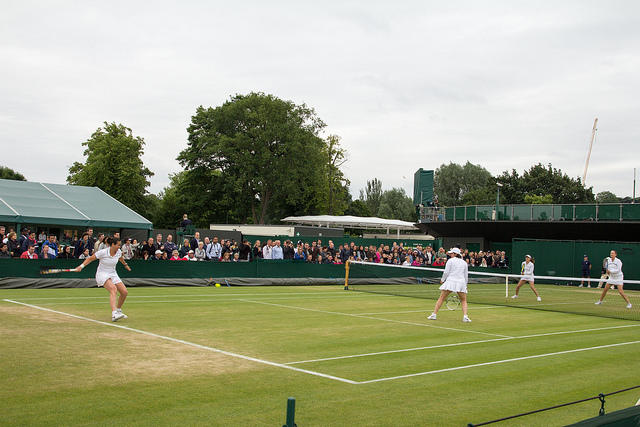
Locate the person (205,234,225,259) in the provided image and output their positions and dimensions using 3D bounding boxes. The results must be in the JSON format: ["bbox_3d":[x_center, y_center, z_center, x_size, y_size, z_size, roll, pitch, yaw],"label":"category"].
[{"bbox_3d":[-5.976,1.876,30.241,0.814,1.825,0.604,15,-13,-43],"label":"person"}]

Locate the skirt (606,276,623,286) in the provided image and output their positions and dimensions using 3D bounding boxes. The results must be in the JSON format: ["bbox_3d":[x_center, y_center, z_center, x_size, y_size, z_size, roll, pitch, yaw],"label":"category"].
[{"bbox_3d":[12.888,3.007,23.177,0.708,0.168,0.671,-3,-3,35],"label":"skirt"}]

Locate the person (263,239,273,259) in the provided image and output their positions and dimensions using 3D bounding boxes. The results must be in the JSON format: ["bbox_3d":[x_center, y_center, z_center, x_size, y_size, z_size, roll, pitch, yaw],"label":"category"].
[{"bbox_3d":[-2.794,1.936,28.583,0.522,0.792,0.993,3,-1,-7],"label":"person"}]

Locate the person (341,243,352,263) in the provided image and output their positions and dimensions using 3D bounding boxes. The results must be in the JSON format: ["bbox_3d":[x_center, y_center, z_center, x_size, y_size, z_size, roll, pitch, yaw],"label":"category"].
[{"bbox_3d":[1.540,2.266,31.210,0.603,0.801,1.003,2,-1,10],"label":"person"}]

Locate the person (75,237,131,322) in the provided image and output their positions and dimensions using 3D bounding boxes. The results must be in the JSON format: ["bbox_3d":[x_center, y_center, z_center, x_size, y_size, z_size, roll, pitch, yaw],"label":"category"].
[{"bbox_3d":[-6.013,1.846,15.213,0.900,2.274,1.128,3,-1,-25],"label":"person"}]
